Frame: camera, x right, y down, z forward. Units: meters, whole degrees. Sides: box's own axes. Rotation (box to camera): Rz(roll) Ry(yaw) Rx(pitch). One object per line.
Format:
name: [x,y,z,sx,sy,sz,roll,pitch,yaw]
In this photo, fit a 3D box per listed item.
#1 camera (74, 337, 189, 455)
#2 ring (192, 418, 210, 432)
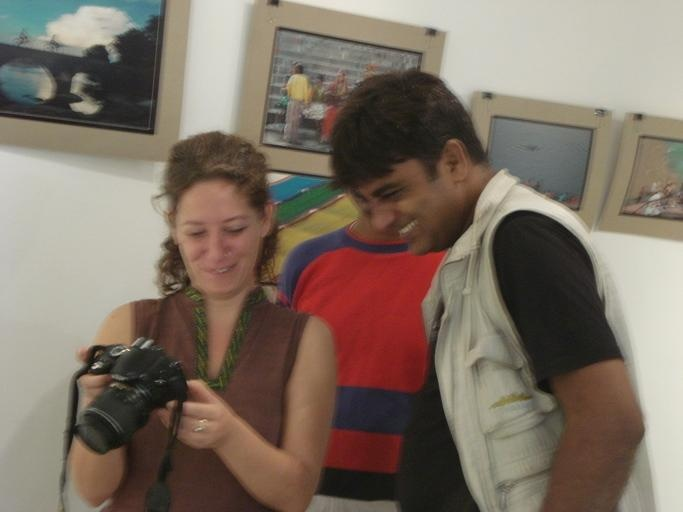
camera: [-0.520,0.333,1.321,0.258,0.162,0.293,-10,36,-1]
ring: [-0.350,0.424,1.321,0.033,0.033,0.011,18,-4,11]
